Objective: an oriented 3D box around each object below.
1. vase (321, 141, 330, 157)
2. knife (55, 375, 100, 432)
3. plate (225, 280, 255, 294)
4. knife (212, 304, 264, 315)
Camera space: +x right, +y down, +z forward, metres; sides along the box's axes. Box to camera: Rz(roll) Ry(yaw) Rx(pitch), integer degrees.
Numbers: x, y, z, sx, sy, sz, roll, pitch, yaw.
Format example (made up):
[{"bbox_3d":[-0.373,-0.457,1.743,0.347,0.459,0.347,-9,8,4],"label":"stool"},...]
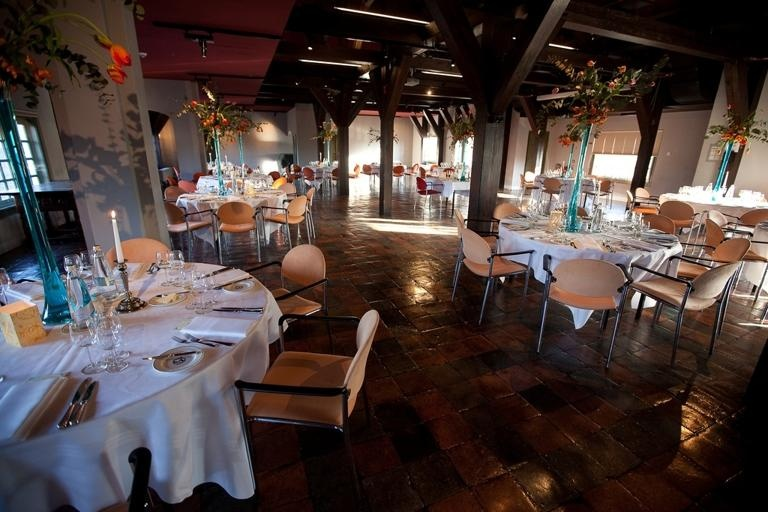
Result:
[{"bbox_3d":[-2.358,-4.405,17.711,0.348,0.694,1.067,-2,14,-8],"label":"vase"},{"bbox_3d":[-1.966,0.963,2.767,0.104,0.027,0.306,6,28,-8],"label":"knife"},{"bbox_3d":[-1.232,0.249,3.683,0.128,0.029,0.130,18,30,39],"label":"plate"},{"bbox_3d":[-1.168,0.420,3.421,0.358,0.035,0.067,0,17,-3],"label":"knife"}]
